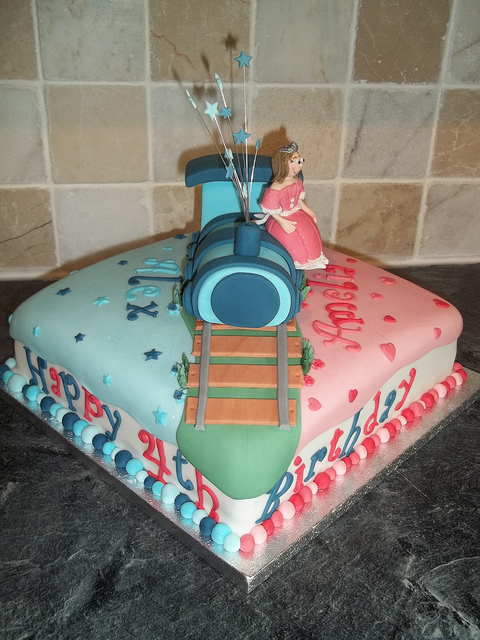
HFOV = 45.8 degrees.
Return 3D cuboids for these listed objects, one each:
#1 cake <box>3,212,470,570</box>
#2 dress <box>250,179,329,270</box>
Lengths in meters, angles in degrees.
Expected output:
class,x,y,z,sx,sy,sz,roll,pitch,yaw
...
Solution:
class,x,y,z,sx,sy,sz,roll,pitch,yaw
cake,-0.022,-0.046,1.942,1.215,0.776,1.241,25,37,35
dress,0.161,-0.278,1.791,0.245,0.315,0.226,2,32,0
